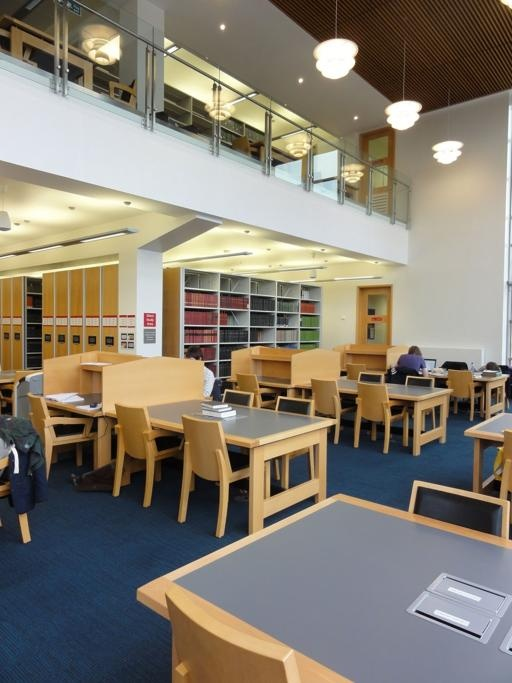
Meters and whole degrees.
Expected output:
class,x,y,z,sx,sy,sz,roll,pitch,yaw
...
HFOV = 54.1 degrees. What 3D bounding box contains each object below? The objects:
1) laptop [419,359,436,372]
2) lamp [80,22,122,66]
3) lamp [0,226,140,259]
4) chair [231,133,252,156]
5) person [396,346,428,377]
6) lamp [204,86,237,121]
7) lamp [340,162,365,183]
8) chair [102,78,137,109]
class,x,y,z,sx,sy,sz,roll,pitch,yaw
laptop,2.760,0.386,8.057,0.251,0.266,0.183,-2,1,-11
lamp,-1.481,-2.825,4.772,0.367,0.133,0.371,-10,-17,1
lamp,-2.846,-1.504,7.697,0.691,0.171,4.294,-1,3,-44
chair,-0.173,-2.460,6.286,0.170,0.242,0.242,9,12,27
person,2.239,0.293,7.256,0.303,0.234,0.725,7,31,24
lamp,-0.412,-2.757,5.801,0.366,0.497,0.368,-3,3,0
lamp,1.679,-2.897,8.636,0.415,0.151,0.417,-1,0,-3
chair,-1.325,-2.415,4.880,0.185,0.245,0.240,8,10,37
